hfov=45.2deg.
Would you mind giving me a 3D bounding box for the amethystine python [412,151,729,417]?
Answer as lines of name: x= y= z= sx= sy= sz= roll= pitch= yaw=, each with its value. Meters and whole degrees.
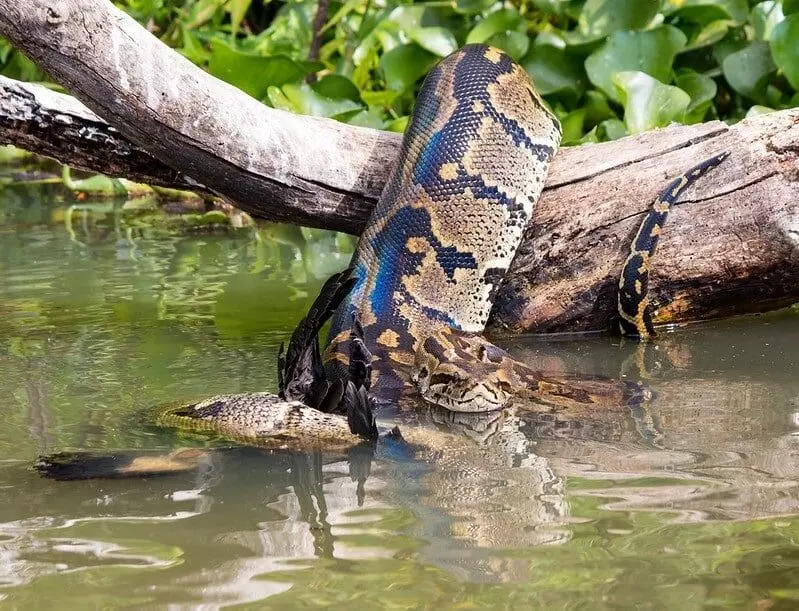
amethystine python: x=1.306 y=-0.229 z=7.207 sx=2.105 sy=2.036 sz=1.339 roll=6 pitch=-9 yaw=-35
